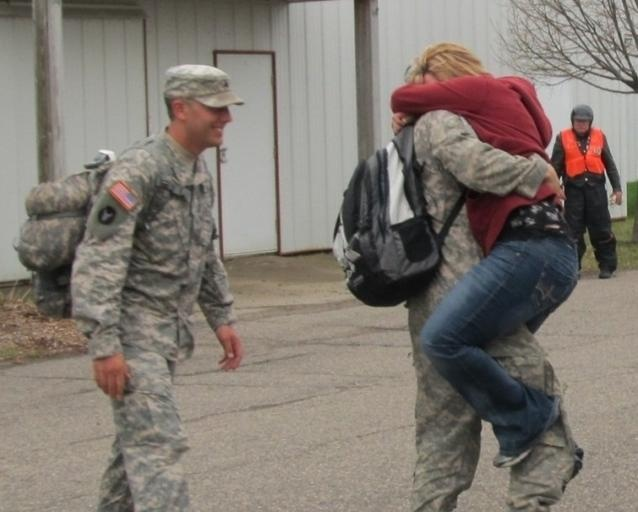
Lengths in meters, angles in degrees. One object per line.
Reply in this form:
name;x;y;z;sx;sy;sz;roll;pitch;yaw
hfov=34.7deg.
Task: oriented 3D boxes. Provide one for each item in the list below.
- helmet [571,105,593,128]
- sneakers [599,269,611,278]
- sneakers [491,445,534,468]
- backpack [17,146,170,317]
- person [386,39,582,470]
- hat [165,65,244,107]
helmet;3.237;-1.732;12.579;0.191;0.226;0.280;3;18;9
sneakers;3.423;0.210;12.235;0.063;0.146;0.199;4;9;36
sneakers;0.934;0.994;5.000;0.142;0.053;0.115;-39;-19;35
backpack;-1.315;-0.084;5.392;0.451;0.877;0.609;0;7;-3
person;0.864;-0.028;5.162;0.886;2.080;0.682;-1;9;4
hat;-0.634;-0.874;5.372;0.316;0.160;0.239;1;6;11
